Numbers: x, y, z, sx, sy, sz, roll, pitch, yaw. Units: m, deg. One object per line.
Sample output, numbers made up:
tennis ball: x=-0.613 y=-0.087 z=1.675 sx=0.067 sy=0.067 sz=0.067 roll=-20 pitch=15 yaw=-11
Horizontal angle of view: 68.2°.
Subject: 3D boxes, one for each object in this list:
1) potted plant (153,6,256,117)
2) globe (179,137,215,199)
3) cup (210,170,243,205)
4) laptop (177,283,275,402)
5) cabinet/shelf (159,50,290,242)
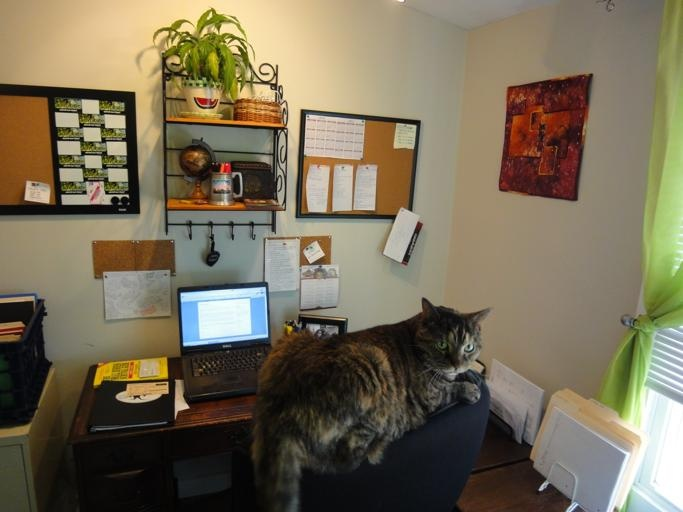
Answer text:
potted plant: x=-0.634 y=-0.831 z=2.416 sx=0.445 sy=0.456 sz=0.479 roll=5 pitch=2 yaw=-12
globe: x=-0.683 y=-0.419 z=2.420 sx=0.174 sy=0.296 sz=0.160 roll=1 pitch=6 yaw=11
cup: x=-0.542 y=-0.335 z=2.399 sx=0.143 sy=0.165 sz=0.103 roll=0 pitch=33 yaw=-15
laptop: x=-0.570 y=0.429 z=2.484 sx=0.468 sy=0.392 sz=0.484 roll=-3 pitch=29 yaw=-19
cabinet/shelf: x=-0.585 y=-0.558 z=2.425 sx=0.741 sy=1.280 sz=0.351 roll=-3 pitch=11 yaw=-23
